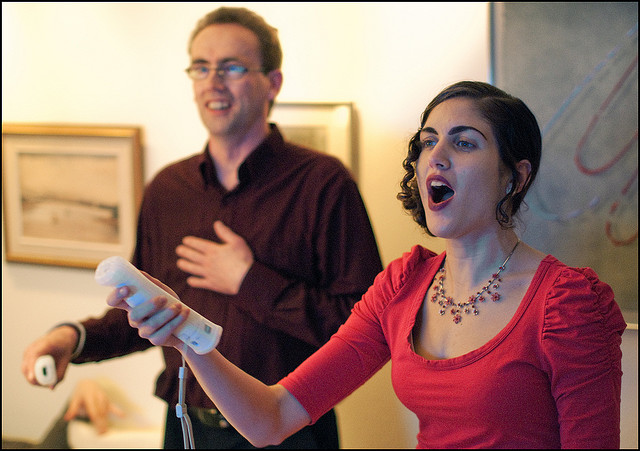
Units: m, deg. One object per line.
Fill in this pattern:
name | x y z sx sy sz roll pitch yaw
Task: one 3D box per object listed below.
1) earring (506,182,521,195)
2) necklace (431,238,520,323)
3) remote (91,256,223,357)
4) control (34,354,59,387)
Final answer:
earring | 0.477 -0.095 1.599 0.024 0.036 0.013 14 10 7
necklace | 0.389 0.156 1.618 0.033 0.258 0.155 20 10 -43
remote | -0.438 0.220 1.753 0.384 0.143 0.108 37 -3 -21
control | -0.845 0.440 1.959 0.064 0.100 0.064 -5 8 -19
